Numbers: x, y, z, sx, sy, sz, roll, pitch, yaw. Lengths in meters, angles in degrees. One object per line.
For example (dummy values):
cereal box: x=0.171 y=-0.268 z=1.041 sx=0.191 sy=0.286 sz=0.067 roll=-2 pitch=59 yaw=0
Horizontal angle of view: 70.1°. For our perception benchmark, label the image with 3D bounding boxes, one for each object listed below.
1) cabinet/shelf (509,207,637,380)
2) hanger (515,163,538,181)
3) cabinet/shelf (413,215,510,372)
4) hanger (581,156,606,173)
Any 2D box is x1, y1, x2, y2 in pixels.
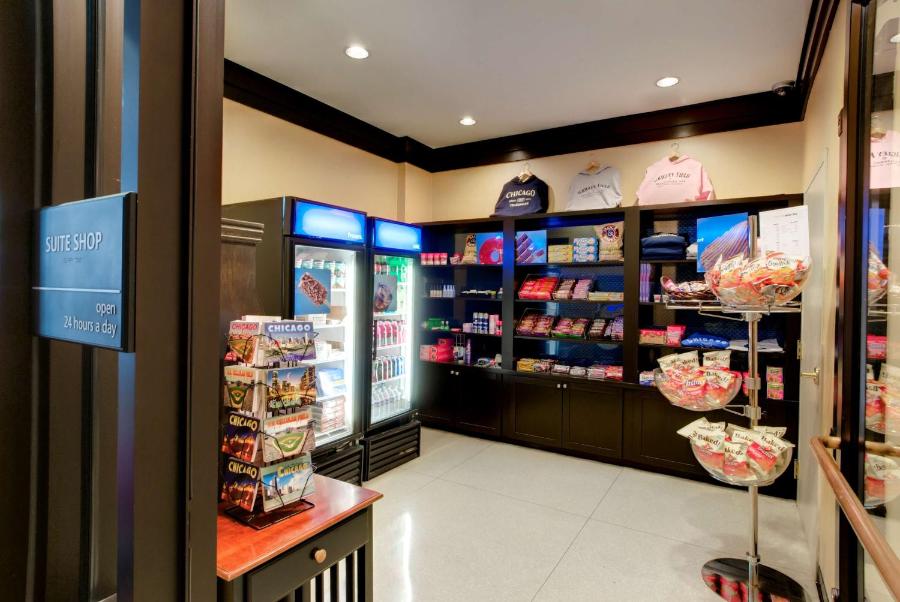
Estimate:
cabinet/shelf: x=0.997 y=-0.079 z=5.207 sx=1.131 sy=1.336 sz=0.692 roll=3 pitch=7 yaw=22
hanger: x=0.689 y=-1.148 z=5.701 sx=0.184 sy=0.128 sz=0.021 roll=3 pitch=4 yaw=39
cabinet/shelf: x=-0.010 y=-0.058 z=5.995 sx=0.710 sy=1.259 sz=0.314 roll=0 pitch=7 yaw=18
hanger: x=1.214 y=-1.143 z=5.366 sx=0.160 sy=0.106 sz=0.022 roll=3 pitch=4 yaw=40
